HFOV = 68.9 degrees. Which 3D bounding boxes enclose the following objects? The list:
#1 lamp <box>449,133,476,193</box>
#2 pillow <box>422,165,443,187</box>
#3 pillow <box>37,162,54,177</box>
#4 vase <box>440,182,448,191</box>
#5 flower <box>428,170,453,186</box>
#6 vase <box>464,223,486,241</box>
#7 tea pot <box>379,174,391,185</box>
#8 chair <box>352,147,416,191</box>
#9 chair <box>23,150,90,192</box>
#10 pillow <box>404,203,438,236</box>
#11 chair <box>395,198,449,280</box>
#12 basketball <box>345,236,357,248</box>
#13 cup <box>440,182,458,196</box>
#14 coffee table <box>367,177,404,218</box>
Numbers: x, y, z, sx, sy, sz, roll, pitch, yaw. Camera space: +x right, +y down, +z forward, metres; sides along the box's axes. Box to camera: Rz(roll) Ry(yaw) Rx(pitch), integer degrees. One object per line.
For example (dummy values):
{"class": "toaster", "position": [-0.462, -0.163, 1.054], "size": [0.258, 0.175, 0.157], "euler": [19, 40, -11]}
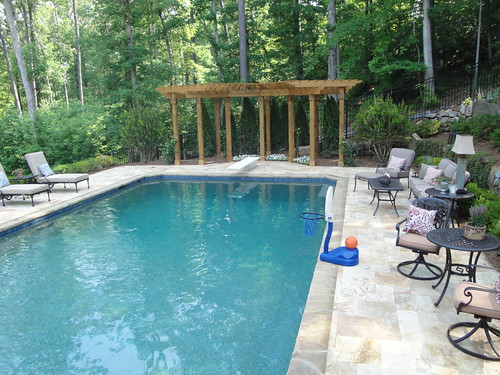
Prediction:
{"class": "lamp", "position": [4.550, -0.548, 7.864], "size": [0.385, 1.155, 0.446], "euler": [6, 17, 29]}
{"class": "pillow", "position": [4.786, -0.378, 9.846], "size": [0.196, 0.600, 0.641], "euler": [20, 9, -18]}
{"class": "pillow", "position": [-6.967, -0.595, 12.526], "size": [0.139, 0.448, 0.435], "euler": [-29, -18, 21]}
{"class": "vase", "position": [4.229, -0.010, 8.055], "size": [0.195, 0.199, 0.189], "euler": [1, -6, -2]}
{"class": "flower", "position": [4.307, -0.184, 8.190], "size": [0.454, 0.220, 0.437], "euler": [-4, 2, 4]}
{"class": "vase", "position": [3.373, 0.667, 5.509], "size": [0.262, 0.185, 0.254], "euler": [0, 11, 7]}
{"class": "tea pot", "position": [3.549, -0.211, 9.749], "size": [0.303, 0.286, 0.291], "euler": [0, 3, 0]}
{"class": "chair", "position": [4.303, -0.653, 12.173], "size": [2.332, 1.482, 1.300], "euler": [-8, 11, -30]}
{"class": "chair", "position": [-6.697, -0.571, 12.522], "size": [2.065, 1.412, 1.267], "euler": [1, 7, 2]}
{"class": "pillow", "position": [3.039, 0.581, 6.474], "size": [0.468, 0.489, 0.196], "euler": [14, -18, 38]}
{"class": "chair", "position": [3.038, 0.890, 6.455], "size": [0.782, 1.248, 0.900], "euler": [9, 19, 41]}
{"class": "basketball", "position": [1.947, 1.039, 7.013], "size": [0.219, 0.243, 0.221], "euler": [0, 2, 44]}
{"class": "cup", "position": [4.298, 0.033, 7.944], "size": [0.325, 0.223, 0.313], "euler": [-1, 7, 0]}
{"class": "coffee table", "position": [3.621, 0.062, 9.798], "size": [1.025, 0.851, 1.774], "euler": [1, 18, 16]}
